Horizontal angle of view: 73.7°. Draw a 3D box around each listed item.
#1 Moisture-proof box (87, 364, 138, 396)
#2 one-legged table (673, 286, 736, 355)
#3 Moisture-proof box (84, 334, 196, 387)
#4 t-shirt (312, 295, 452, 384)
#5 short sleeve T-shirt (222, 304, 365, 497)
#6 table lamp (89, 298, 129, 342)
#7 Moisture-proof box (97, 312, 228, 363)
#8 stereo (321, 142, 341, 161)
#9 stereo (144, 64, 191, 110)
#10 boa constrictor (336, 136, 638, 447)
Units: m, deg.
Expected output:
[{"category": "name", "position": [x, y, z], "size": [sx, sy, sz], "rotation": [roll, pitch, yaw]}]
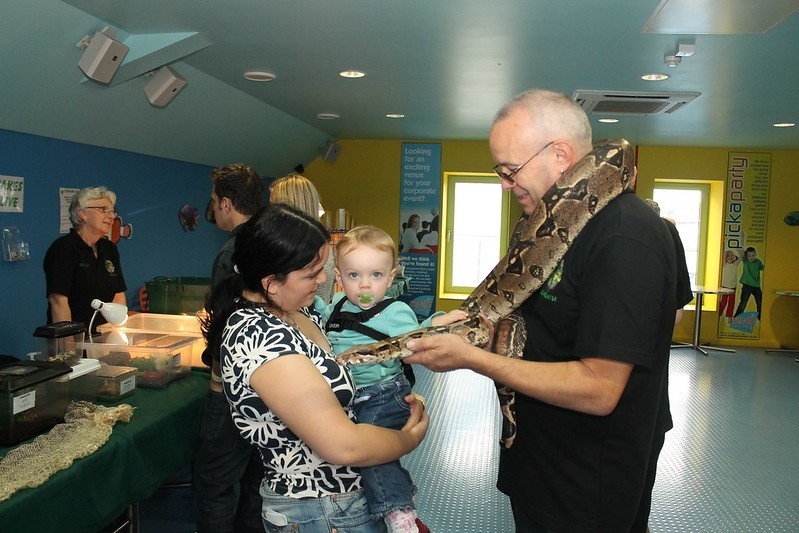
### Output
[{"category": "Moisture-proof box", "position": [-1.934, 0.768, 3.590], "size": [0.225, 0.128, 0.221], "rotation": [2, 5, 14]}, {"category": "one-legged table", "position": [5.577, 0.970, 9.896], "size": [1.261, 1.249, 1.254], "rotation": [0, -4, 24]}, {"category": "Moisture-proof box", "position": [-1.888, 0.620, 3.842], "size": [0.578, 0.214, 0.398], "rotation": [3, 4, 14]}, {"category": "t-shirt", "position": [-0.080, 0.470, 3.524], "size": [0.477, 0.337, 0.838], "rotation": [16, 0, 38]}, {"category": "short sleeve T-shirt", "position": [-0.566, 0.709, 2.803], "size": [0.734, 1.000, 0.285], "rotation": [0, 10, -11]}, {"category": "table lamp", "position": [-2.260, 0.420, 4.138], "size": [0.252, 0.330, 0.134], "rotation": [-17, 35, -22]}, {"category": "Moisture-proof box", "position": [-1.850, 0.520, 4.152], "size": [0.834, 0.280, 0.570], "rotation": [3, 5, 4]}, {"category": "stereo", "position": [-1.352, -2.302, 10.541], "size": [0.190, 0.329, 0.185], "rotation": [25, 44, -8]}, {"category": "stereo", "position": [-2.563, -1.989, 6.012], "size": [0.352, 0.505, 0.481], "rotation": [47, 19, -12]}, {"category": "boa constrictor", "position": [0.789, -0.067, 3.179], "size": [0.617, 2.191, 1.285], "rotation": [42, -5, -23]}]
